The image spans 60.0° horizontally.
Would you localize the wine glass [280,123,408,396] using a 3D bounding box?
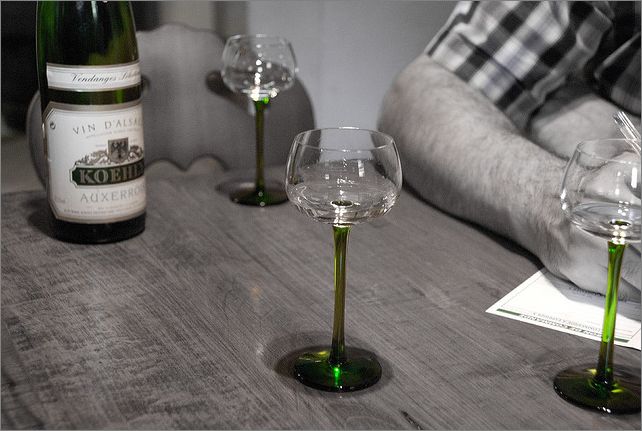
[{"bbox_3d":[0.019,0.023,0.588,0.116,0.226,0.228,6,31,7],"label":"wine glass"}]
